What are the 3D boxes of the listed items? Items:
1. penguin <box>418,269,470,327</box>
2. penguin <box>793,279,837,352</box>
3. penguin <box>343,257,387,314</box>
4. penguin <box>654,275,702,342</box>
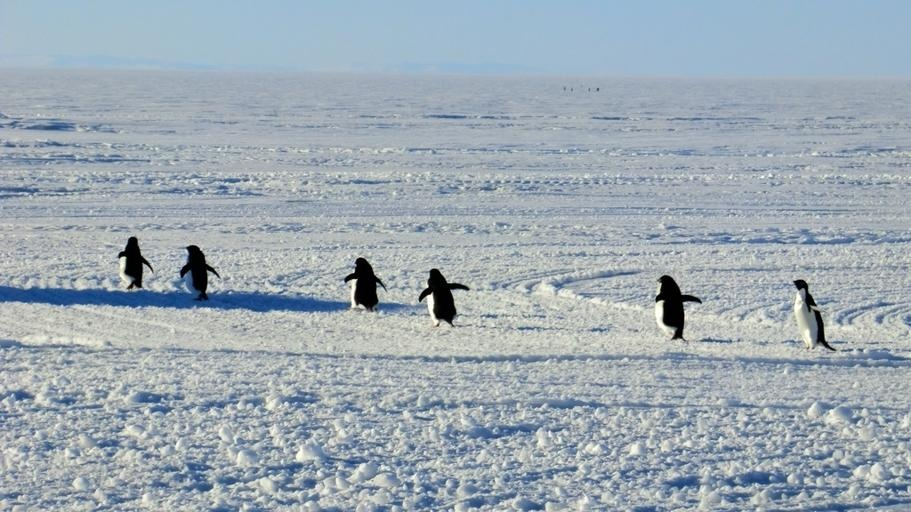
[{"bbox_3d":[-0.834,2.388,115.663,2.202,3.268,1.195,-4,11,0],"label":"penguin"},{"bbox_3d":[20.261,3.319,114.274,1.820,3.816,0.971,-1,12,17],"label":"penguin"},{"bbox_3d":[-5.174,1.615,116.845,1.969,3.043,1.528,-2,11,10],"label":"penguin"},{"bbox_3d":[12.500,2.934,114.932,1.931,3.553,1.302,-5,11,-6],"label":"penguin"}]
